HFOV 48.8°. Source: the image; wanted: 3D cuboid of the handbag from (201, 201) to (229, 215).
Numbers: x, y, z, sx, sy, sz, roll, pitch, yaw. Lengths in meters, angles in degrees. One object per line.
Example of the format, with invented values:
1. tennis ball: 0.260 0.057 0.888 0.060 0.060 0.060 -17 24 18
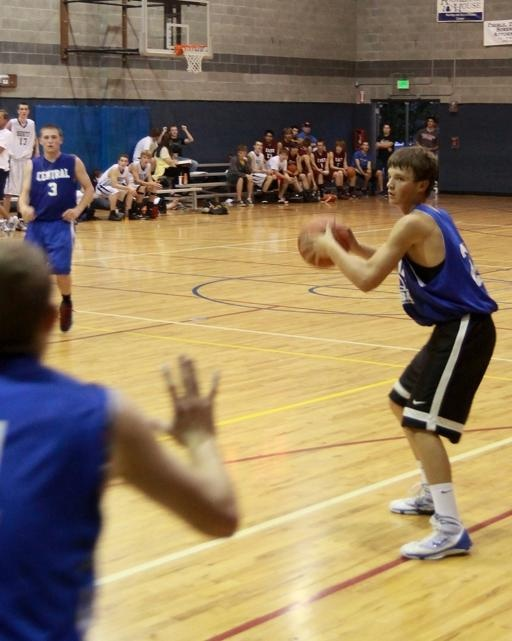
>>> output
1. handbag: -1.228 -3.253 16.606 0.591 0.244 0.706 -8 8 -44

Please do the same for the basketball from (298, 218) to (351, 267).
1. basketball: 0.339 -0.330 2.565 0.266 0.132 0.244 -5 41 -19

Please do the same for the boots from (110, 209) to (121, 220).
1. boots: -3.832 -2.861 15.369 0.294 0.283 0.304 -6 15 -27

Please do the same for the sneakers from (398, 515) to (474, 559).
1. sneakers: 0.793 0.940 2.499 0.413 0.215 0.131 0 1 -3

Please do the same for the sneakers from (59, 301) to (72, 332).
1. sneakers: -2.114 -0.040 6.256 0.133 0.325 0.253 3 2 -5

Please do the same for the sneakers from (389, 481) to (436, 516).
1. sneakers: 0.857 0.903 2.885 0.320 0.164 0.107 3 3 3

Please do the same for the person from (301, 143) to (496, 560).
1. person: 0.736 0.118 2.541 0.710 1.795 0.696 13 19 42

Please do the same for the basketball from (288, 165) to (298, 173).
1. basketball: 1.237 -5.046 18.764 0.241 0.253 0.300 8 25 19

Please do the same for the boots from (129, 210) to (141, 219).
1. boots: -3.348 -2.950 15.635 0.342 0.274 0.136 -3 14 -15

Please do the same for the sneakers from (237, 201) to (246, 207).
1. sneakers: -0.449 -3.808 18.433 0.310 0.158 0.539 0 12 -4

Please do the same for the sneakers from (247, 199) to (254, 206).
1. sneakers: -0.161 -3.886 18.472 0.190 0.209 0.232 5 17 5
